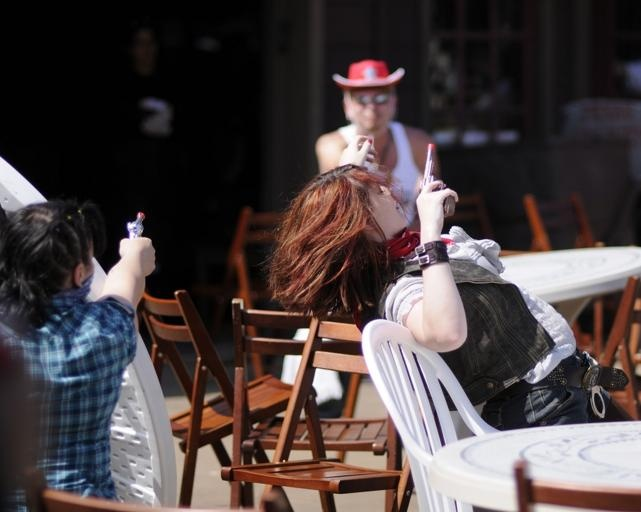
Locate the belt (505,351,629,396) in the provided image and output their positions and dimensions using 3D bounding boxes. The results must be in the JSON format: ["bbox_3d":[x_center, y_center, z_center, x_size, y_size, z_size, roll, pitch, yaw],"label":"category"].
[{"bbox_3d":[1.110,0.506,5.120,0.283,0.106,0.245,-11,-2,13],"label":"belt"}]

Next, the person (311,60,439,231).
[{"bbox_3d":[0.341,-0.664,6.807,0.719,1.447,0.849,-1,-4,0],"label":"person"}]

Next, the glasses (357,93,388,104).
[{"bbox_3d":[0.301,-0.874,6.799,0.175,0.063,0.036,-4,10,-1],"label":"glasses"}]

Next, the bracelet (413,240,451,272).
[{"bbox_3d":[0.463,0.008,4.995,0.123,0.092,0.103,-15,-10,14],"label":"bracelet"}]
